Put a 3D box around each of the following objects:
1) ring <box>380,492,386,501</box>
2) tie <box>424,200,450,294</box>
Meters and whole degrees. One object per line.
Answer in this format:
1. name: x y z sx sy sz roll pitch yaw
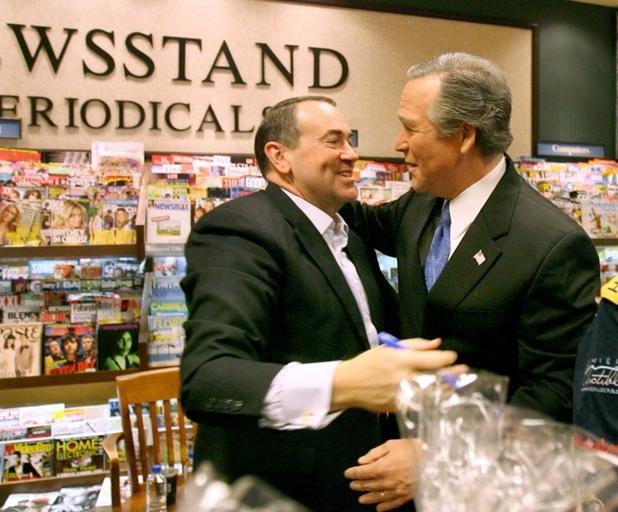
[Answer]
1. ring: 0.198 0.636 1.615 0.016 0.016 0.004 4 -3 39
2. tie: 0.445 -0.023 2.093 0.023 0.304 0.077 30 -39 -22
